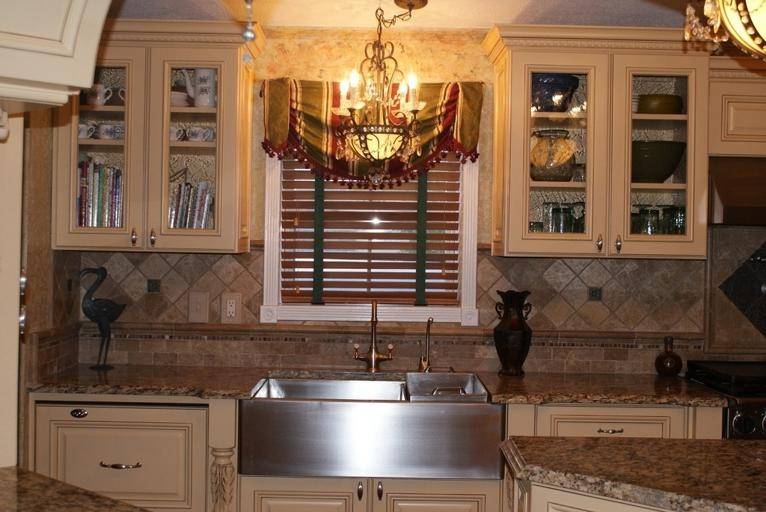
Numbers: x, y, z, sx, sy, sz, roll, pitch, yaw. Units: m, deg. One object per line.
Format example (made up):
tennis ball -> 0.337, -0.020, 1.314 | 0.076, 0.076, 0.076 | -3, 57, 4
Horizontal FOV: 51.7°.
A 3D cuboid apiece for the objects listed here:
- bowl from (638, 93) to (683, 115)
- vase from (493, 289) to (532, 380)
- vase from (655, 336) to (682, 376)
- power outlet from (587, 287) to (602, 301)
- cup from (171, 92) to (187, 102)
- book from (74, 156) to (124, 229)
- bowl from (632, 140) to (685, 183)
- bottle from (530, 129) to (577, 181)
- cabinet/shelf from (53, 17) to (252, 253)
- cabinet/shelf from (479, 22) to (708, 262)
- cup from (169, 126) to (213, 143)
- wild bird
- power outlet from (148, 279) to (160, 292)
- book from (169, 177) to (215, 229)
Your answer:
bowl -> 1.639, -0.902, 4.687 | 0.168, 0.066, 0.166 | 0, 1, 0
vase -> 0.791, 0.465, 4.819 | 0.216, 0.516, 0.202 | 2, 8, 4
vase -> 1.767, 0.607, 4.873 | 0.154, 0.221, 0.137 | -3, 10, 3
power outlet -> 1.342, 0.235, 4.998 | 0.085, 0.074, 0.021 | 1, -3, 2
cup -> -1.209, -0.944, 4.698 | 0.064, 0.042, 0.062 | 2, 0, 0
book -> -1.672, -0.373, 4.688 | 0.366, 0.506, 0.376 | 1, -1, -11
bowl -> 1.637, -0.569, 4.682 | 0.279, 0.162, 0.275 | 0, -4, 0
bottle -> 1.004, -0.592, 4.814 | 0.316, 0.284, 0.302 | 1, -7, -3
cabinet/shelf -> -1.321, -0.686, 4.492 | 1.458, 1.529, 0.662 | 0, -3, -2
cabinet/shelf -> 1.299, -0.680, 4.654 | 1.504, 1.367, 0.572 | 1, -4, -1
cup -> -1.130, -0.725, 4.703 | 0.183, 0.070, 0.113 | 0, -2, -4
wild bird -> -1.716, 0.374, 4.889 | 0.266, 0.618, 0.397 | -2, 9, -21
power outlet -> -1.444, 0.189, 4.998 | 0.083, 0.075, 0.019 | 1, 0, -1
book -> -1.140, -0.305, 4.689 | 0.320, 0.346, 0.016 | 2, 5, -3
